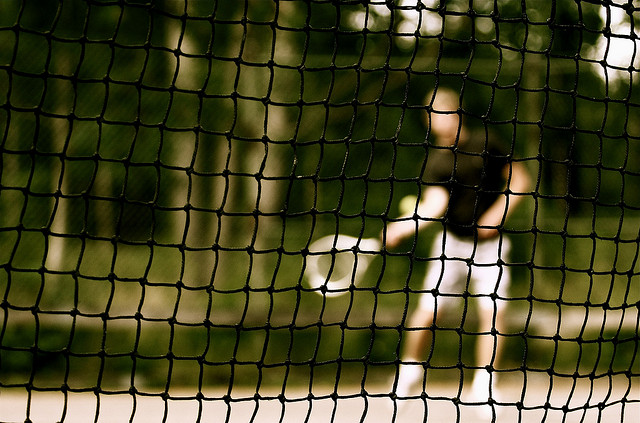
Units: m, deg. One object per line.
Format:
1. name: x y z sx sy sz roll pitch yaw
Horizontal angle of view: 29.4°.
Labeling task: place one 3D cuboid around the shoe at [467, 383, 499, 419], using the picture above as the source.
1. shoe: 1.675 1.944 12.576 0.322 0.322 0.581 6 -11 8
